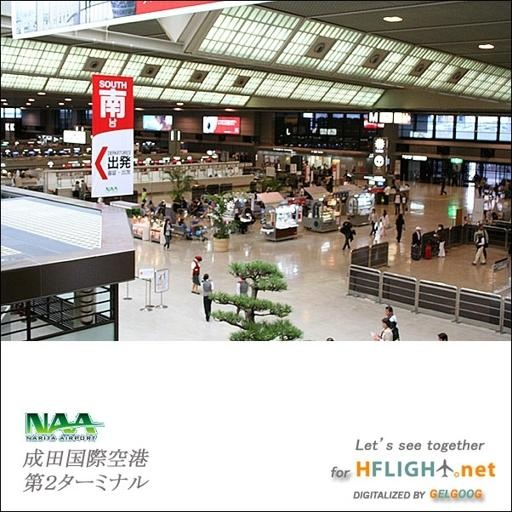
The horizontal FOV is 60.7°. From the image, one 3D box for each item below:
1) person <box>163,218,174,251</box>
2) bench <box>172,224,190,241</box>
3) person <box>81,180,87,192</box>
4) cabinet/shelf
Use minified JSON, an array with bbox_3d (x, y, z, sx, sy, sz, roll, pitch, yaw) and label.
[{"bbox_3d":[-4.441,-1.205,21.929,0.430,1.469,2.510,-2,15,-12],"label":"person"},{"bbox_3d":[-4.139,-1.389,23.781,0.465,0.860,1.385,-10,18,-37],"label":"bench"},{"bbox_3d":[-11.678,-4.751,29.720,0.366,0.770,0.678,-3,15,-15],"label":"person"},{"bbox_3d":[2.268,-2.423,25.283,5.669,2.372,1.850,-11,18,-39],"label":"cabinet/shelf"}]
